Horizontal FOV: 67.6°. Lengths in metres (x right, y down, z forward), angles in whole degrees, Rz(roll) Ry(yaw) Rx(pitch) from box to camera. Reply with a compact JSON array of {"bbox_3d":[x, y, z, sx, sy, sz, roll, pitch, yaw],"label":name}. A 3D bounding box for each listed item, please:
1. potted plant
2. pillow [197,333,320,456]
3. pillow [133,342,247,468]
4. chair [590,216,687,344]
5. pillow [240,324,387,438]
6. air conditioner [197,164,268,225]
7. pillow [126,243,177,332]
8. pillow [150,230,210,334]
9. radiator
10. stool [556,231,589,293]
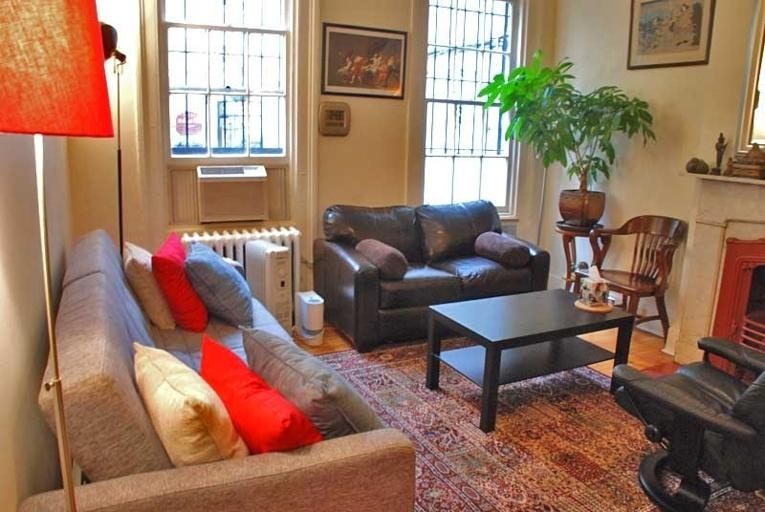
[{"bbox_3d":[1.779,-1.183,5.413,1.639,1.345,1.140,10,35,23],"label":"potted plant"},{"bbox_3d":[-0.571,0.581,2.465,0.252,0.233,0.690,-24,38,-37],"label":"pillow"},{"bbox_3d":[-0.806,0.687,2.426,0.341,0.485,0.672,-8,21,-38],"label":"pillow"},{"bbox_3d":[2.193,0.213,5.001,0.652,1.027,0.736,-7,15,-23],"label":"chair"},{"bbox_3d":[-0.358,0.566,2.658,0.380,0.306,0.753,-14,23,-36],"label":"pillow"},{"bbox_3d":[-1.283,-0.524,5.060,0.595,0.489,0.330,-2,-9,-8],"label":"air conditioner"},{"bbox_3d":[-1.400,0.194,3.513,0.171,0.447,0.428,-18,20,2],"label":"pillow"},{"bbox_3d":[-1.337,0.169,3.747,0.262,0.491,0.697,-12,10,-16],"label":"pillow"},{"bbox_3d":[-1.029,0.170,4.117,0.781,0.827,0.310,-3,15,-14],"label":"radiator"},{"bbox_3d":[1.836,0.029,5.581,0.287,0.696,0.708,3,15,18],"label":"stool"}]
